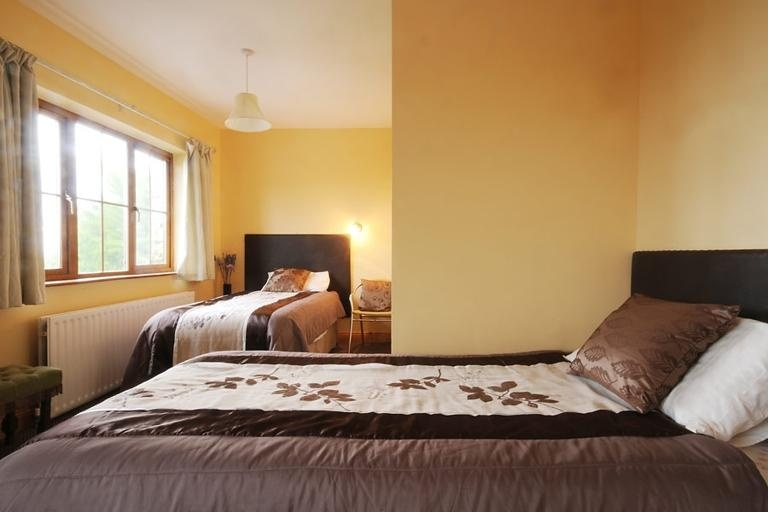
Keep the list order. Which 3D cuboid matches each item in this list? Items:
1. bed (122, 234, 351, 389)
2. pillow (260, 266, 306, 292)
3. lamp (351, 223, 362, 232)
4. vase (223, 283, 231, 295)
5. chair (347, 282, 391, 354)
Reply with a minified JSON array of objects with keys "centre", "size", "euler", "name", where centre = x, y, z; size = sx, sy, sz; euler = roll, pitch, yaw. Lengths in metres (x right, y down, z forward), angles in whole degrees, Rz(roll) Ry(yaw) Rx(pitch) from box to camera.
[{"centre":[-1.153,0.349,5.398],"size":[1.236,1.138,1.739],"euler":[-1,-5,15],"name":"bed"},{"centre":[-1.121,0.287,5.949],"size":[0.312,0.100,0.327],"euler":[-2,37,3],"name":"pillow"},{"centre":[-0.324,-0.333,6.392],"size":[0.120,0.103,0.043],"euler":[-2,5,-7],"name":"lamp"},{"centre":[-1.866,0.402,6.273],"size":[0.094,0.127,0.130],"euler":[-1,1,10],"name":"vase"},{"centre":[-0.143,0.654,6.058],"size":[0.717,0.991,0.701],"euler":[0,-9,0],"name":"chair"}]
